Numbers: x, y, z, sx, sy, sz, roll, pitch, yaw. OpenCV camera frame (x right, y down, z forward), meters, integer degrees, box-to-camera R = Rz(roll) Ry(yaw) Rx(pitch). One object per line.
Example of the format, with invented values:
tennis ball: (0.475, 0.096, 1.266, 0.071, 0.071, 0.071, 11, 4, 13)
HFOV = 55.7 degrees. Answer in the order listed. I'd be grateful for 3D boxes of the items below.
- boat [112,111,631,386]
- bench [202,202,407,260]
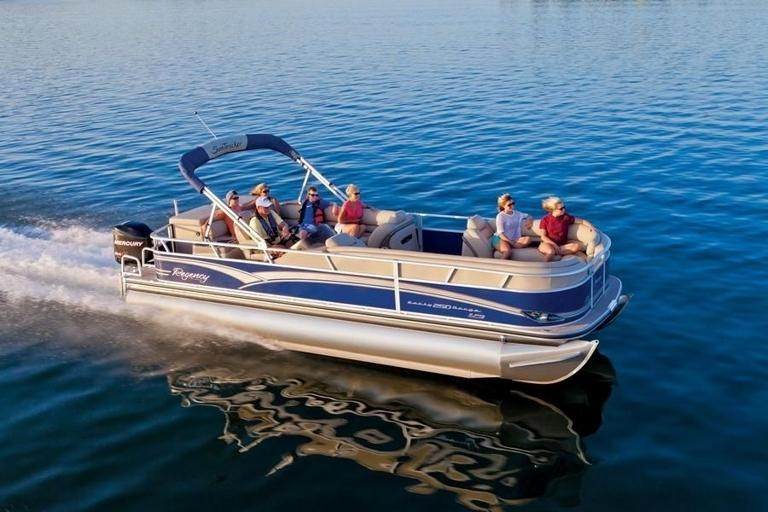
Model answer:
boat: (-0.265, -0.144, 15.954, 13.338, 2.744, 3.786, 5, 26, 18)
bench: (-1.521, -0.437, 14.913, 3.391, 0.566, 1.660, 3, 16, 13)
